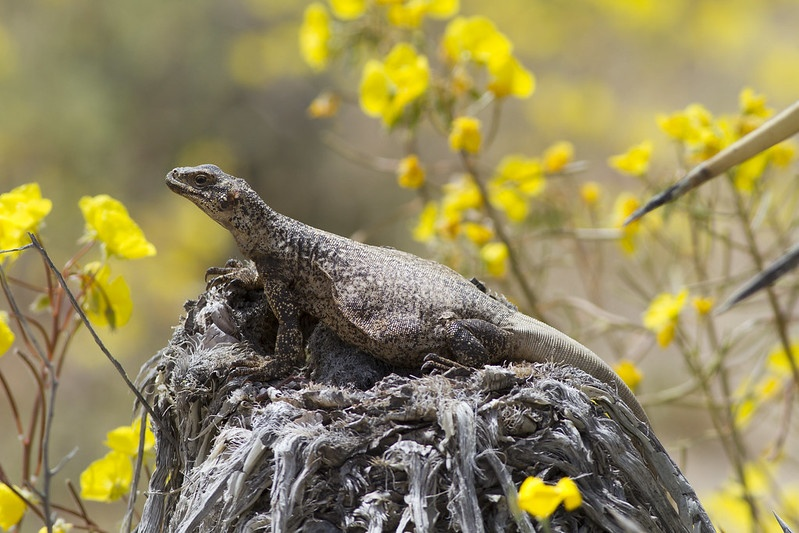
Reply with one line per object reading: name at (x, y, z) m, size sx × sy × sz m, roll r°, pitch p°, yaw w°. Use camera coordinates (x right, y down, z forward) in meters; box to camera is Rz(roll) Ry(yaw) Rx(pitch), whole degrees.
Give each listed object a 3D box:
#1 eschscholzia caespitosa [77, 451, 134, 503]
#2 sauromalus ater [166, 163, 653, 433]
eschscholzia caespitosa at (-0.686, 0.496, 2.855) m, size 0.113 × 0.120 × 0.046 m, roll -38°, pitch -12°, yaw 1°
sauromalus ater at (0.046, 0.078, 2.785) m, size 1.239 × 0.427 × 0.379 m, roll 11°, pitch -70°, yaw -11°
